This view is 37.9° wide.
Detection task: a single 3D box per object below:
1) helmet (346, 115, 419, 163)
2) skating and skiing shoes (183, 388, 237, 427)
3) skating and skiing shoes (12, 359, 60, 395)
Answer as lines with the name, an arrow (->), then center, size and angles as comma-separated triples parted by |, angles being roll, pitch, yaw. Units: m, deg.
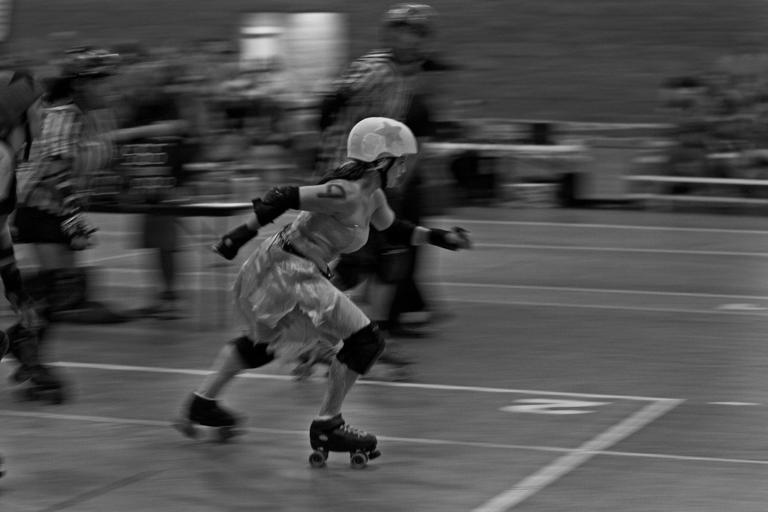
helmet -> -0.002, -0.708, 6.879 | 0.429, 0.267, 0.212 | -1, 15, -6
skating and skiing shoes -> -1.028, 0.984, 7.263 | 0.285, 0.169, 0.569 | -1, 4, -41
skating and skiing shoes -> -2.499, 0.875, 8.066 | 0.349, 0.127, 0.217 | 19, -1, -37
